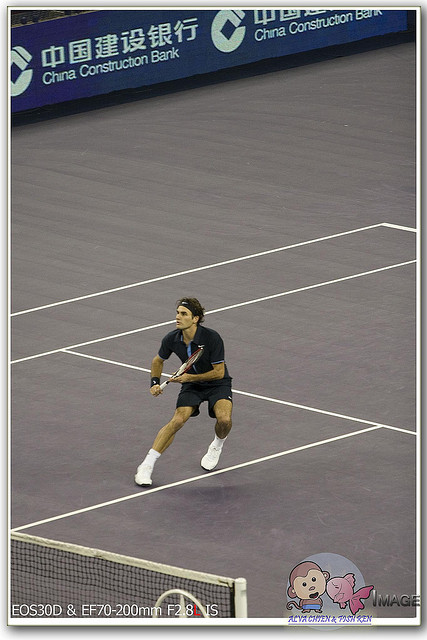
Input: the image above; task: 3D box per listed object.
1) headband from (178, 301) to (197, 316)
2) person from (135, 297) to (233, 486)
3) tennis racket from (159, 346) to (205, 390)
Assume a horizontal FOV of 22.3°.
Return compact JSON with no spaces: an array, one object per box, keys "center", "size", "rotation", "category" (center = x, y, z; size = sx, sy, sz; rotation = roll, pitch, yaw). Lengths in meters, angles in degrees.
[{"center":[-0.248,-0.114,10.715],"size":[0.175,0.114,0.070],"rotation":[-4,-2,0],"category":"headband"},{"center":[-0.280,0.689,10.833],"size":[1.039,1.598,0.664],"rotation":[-5,-2,-12],"category":"person"},{"center":[-0.292,0.418,10.718],"size":[0.389,0.325,0.315],"rotation":[-4,-2,-22],"category":"tennis racket"}]
